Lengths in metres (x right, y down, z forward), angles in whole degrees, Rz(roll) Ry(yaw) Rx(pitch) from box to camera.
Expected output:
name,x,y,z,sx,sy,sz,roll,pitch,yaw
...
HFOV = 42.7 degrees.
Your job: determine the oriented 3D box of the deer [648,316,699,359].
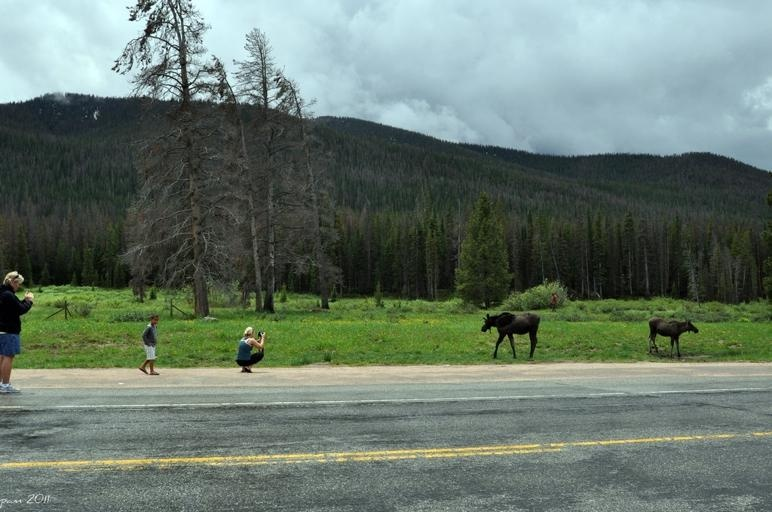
name,x,y,z,sx,sy,sz,roll,pitch,yaw
deer,45.630,12.978,158.372,7.924,5.813,2.391,3,2,38
